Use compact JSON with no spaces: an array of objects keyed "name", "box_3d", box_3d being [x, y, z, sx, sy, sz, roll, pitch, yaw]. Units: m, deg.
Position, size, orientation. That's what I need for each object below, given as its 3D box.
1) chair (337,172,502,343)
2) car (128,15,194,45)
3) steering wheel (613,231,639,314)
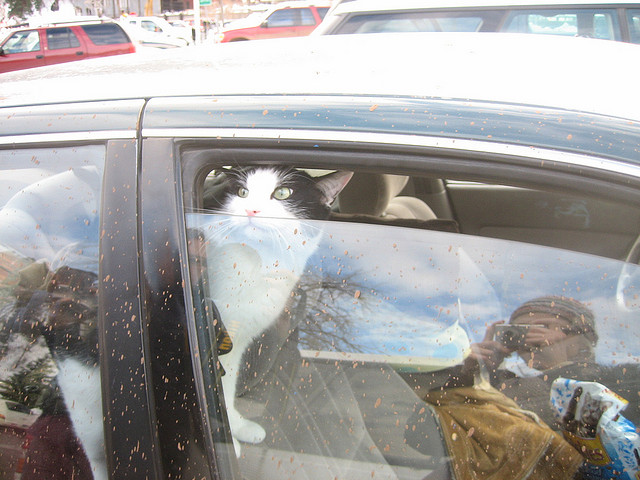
[{"name":"chair","box_3d":[0.245,0.007,1.080,0.301,0.436,0.248,-18,26,-36]},{"name":"car","box_3d":[-6.226,-7.819,17.842,2.274,1.194,1.133,-3,22,-4]},{"name":"steering wheel","box_3d":[0.650,0.068,0.984,0.050,0.146,0.127,11,15,29]}]
